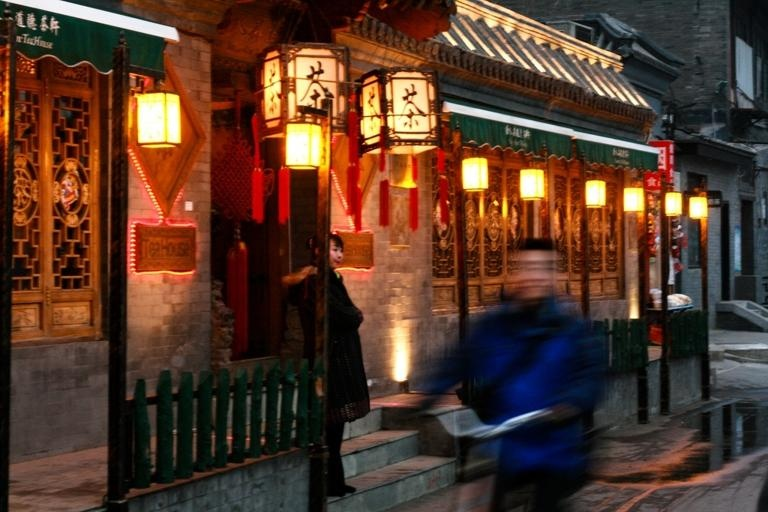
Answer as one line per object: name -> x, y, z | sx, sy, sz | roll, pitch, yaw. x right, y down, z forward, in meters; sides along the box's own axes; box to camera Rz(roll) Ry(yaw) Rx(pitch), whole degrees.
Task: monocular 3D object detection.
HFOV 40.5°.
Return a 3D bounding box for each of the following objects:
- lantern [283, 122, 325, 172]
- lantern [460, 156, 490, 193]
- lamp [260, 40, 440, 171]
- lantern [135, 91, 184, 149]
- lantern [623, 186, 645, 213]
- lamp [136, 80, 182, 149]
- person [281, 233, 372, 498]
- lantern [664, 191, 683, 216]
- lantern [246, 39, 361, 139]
lantern -> -1.010, -1.365, 12.746 | 0.635, 0.718, 0.563 | 0, 2, -12
lantern -> 1.459, -1.346, 16.874 | 0.649, 0.523, 0.579 | 0, 1, -2
lamp -> -0.565, -2.062, 14.274 | 2.718, 1.280, 0.782 | 1, -5, -39
lantern -> -2.702, -1.644, 12.535 | 0.491, 0.666, 0.505 | 0, 4, -15
lantern -> 4.906, -1.120, 20.480 | 0.531, 0.596, 0.493 | 1, -4, 17
lamp -> -2.728, -1.684, 12.526 | 0.474, 0.616, 0.398 | 3, 4, -1
person -> -0.808, 1.292, 13.051 | 1.270, 2.997, 1.429 | 9, -7, -37
lantern -> 5.740, -1.057, 20.783 | 0.556, 0.472, 0.497 | 0, 0, -1
lantern -> -1.272, -2.267, 14.095 | 1.512, 1.189, 1.339 | -1, 7, -8
